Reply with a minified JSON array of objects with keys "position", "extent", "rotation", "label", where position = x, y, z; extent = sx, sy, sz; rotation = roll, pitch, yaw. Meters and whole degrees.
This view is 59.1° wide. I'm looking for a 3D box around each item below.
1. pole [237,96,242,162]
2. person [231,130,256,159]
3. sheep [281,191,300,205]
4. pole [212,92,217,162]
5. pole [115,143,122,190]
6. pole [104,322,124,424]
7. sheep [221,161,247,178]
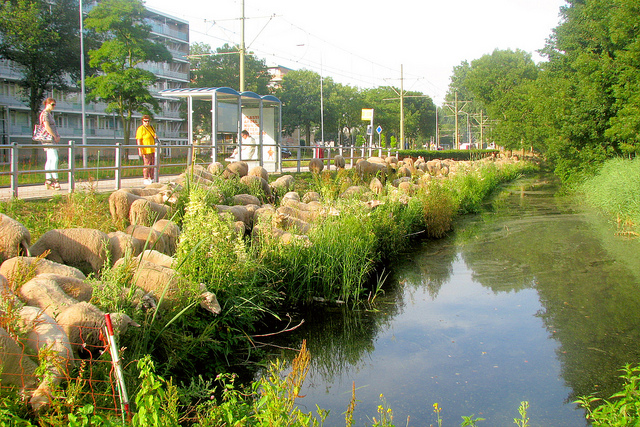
[{"position":[-3.026,-3.202,21.148],"extent":[0.175,2.386,0.542],"rotation":[0,1,-10],"label":"pole"},{"position":[-2.852,-2.531,21.801],"extent":[1.066,1.284,0.746],"rotation":[4,17,-8],"label":"person"},{"position":[-0.718,-0.367,13.284],"extent":[0.286,0.188,0.408],"rotation":[-2,4,8],"label":"sheep"},{"position":[-3.681,-3.036,19.615],"extent":[0.162,2.387,0.578],"rotation":[0,1,-10],"label":"pole"},{"position":[-5.516,-1.290,15.398],"extent":[0.130,1.218,0.558],"rotation":[0,1,-17],"label":"pole"},{"position":[-2.382,1.852,6.465],"extent":[0.056,1.274,0.119],"rotation":[-9,-2,31],"label":"pole"},{"position":[-2.343,-1.243,15.482],"extent":[0.428,0.315,0.535],"rotation":[-14,2,22],"label":"sheep"}]
